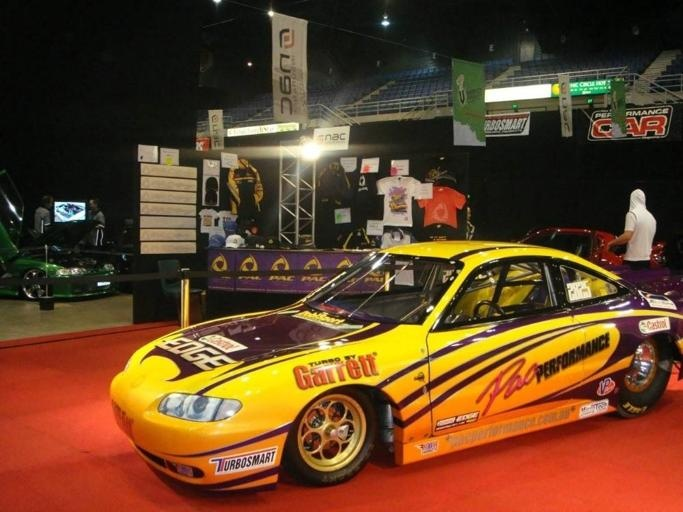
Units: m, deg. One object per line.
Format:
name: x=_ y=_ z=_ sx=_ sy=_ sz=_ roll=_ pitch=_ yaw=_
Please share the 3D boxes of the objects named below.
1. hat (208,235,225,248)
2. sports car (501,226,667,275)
hat: x=-2.703 y=-0.302 z=11.322 sx=0.301 sy=0.251 sz=0.240 roll=2 pitch=-7 yaw=34
sports car: x=5.415 y=-0.246 z=11.539 sx=2.808 sy=0.902 sz=1.707 roll=8 pitch=11 yaw=41
